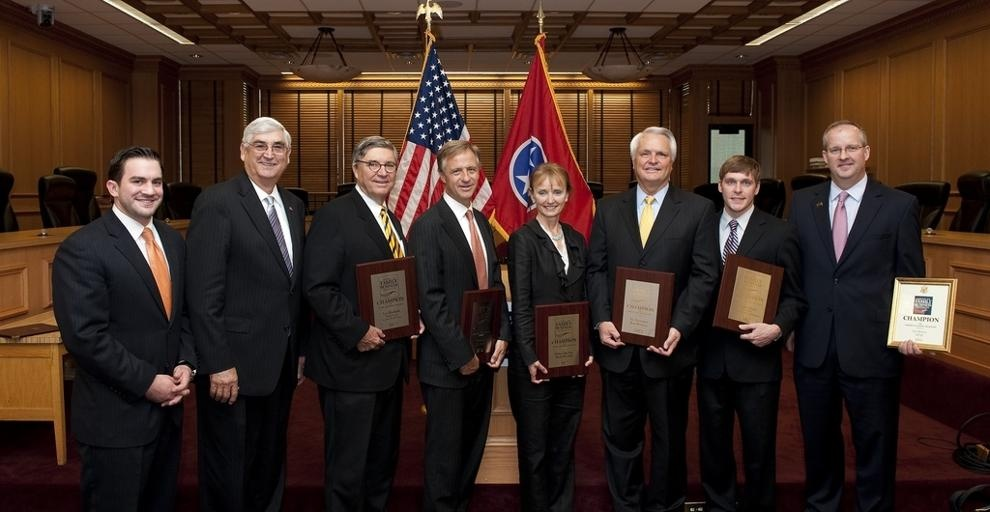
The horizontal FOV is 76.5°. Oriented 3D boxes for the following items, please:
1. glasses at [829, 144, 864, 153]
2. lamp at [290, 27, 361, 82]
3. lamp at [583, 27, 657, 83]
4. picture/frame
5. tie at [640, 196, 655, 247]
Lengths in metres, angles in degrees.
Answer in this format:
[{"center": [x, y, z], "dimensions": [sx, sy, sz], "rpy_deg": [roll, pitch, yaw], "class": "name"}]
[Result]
[{"center": [2.727, -0.835, 4.885], "dimensions": [0.296, 0.091, 0.067], "rpy_deg": [2, 11, 7], "class": "glasses"}, {"center": [-2.871, -3.256, 10.625], "dimensions": [1.095, 0.744, 1.033], "rpy_deg": [0, 3, 1], "class": "lamp"}, {"center": [2.081, -3.435, 10.685], "dimensions": [1.191, 0.814, 1.130], "rpy_deg": [-12, 21, -16], "class": "lamp"}, {"center": [3.214, 0.442, 4.754], "dimensions": [0.426, 0.539, 0.216], "rpy_deg": [4, 12, 18], "class": "picture/frame"}, {"center": [1.175, -0.291, 4.900], "dimensions": [0.085, 0.432, 0.056], "rpy_deg": [4, -13, 12], "class": "tie"}]
